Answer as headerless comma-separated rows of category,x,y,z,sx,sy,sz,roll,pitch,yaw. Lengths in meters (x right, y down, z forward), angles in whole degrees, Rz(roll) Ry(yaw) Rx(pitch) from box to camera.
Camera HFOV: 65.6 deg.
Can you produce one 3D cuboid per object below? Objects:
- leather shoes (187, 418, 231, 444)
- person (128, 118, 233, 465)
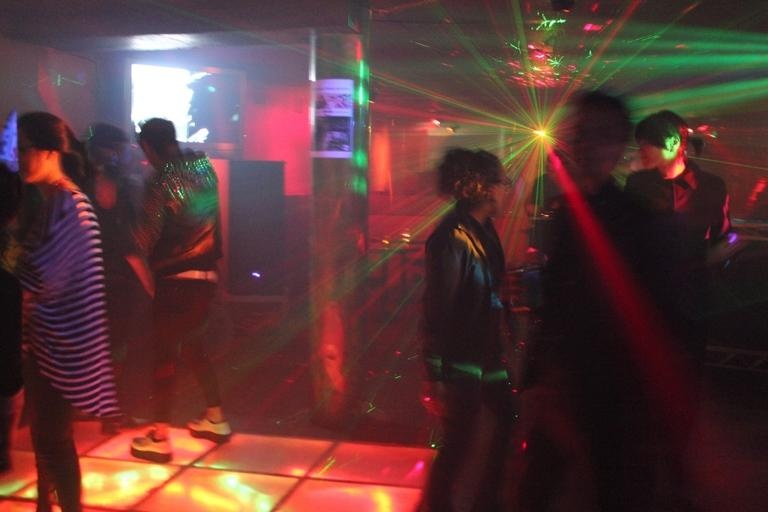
leather shoes,-1.359,1.358,4.652,0.343,0.116,0.147,8,2,13
person,-1.554,0.247,4.383,0.799,2.454,0.498,-9,16,-26
